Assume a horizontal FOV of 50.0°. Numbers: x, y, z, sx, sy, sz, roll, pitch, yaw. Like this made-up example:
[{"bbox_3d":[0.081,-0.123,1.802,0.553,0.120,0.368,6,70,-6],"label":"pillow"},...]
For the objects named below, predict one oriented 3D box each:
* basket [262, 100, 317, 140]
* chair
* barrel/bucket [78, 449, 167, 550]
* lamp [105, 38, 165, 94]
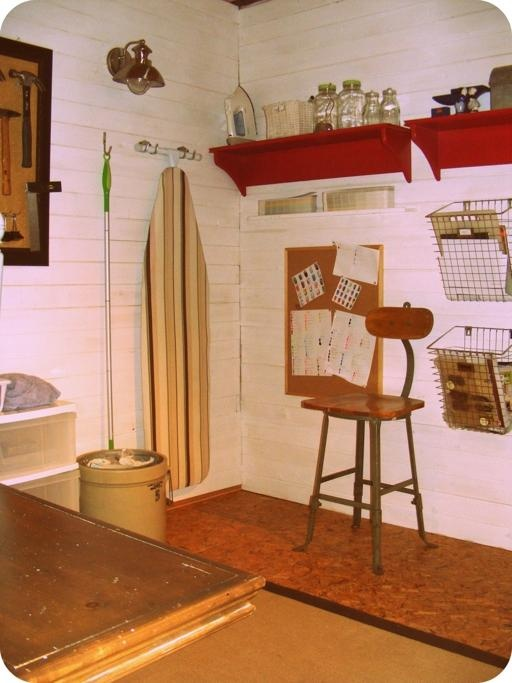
[{"bbox_3d":[0.207,-1.402,3.504,0.331,0.234,0.155,0,3,16],"label":"basket"},{"bbox_3d":[0.634,0.468,3.125,0.692,1.372,0.865,0,3,18],"label":"chair"},{"bbox_3d":[-0.694,0.820,2.883,0.448,0.475,0.358,-2,3,-18],"label":"barrel/bucket"},{"bbox_3d":[-0.671,-1.541,3.086,0.306,0.264,0.239,10,17,14],"label":"lamp"}]
